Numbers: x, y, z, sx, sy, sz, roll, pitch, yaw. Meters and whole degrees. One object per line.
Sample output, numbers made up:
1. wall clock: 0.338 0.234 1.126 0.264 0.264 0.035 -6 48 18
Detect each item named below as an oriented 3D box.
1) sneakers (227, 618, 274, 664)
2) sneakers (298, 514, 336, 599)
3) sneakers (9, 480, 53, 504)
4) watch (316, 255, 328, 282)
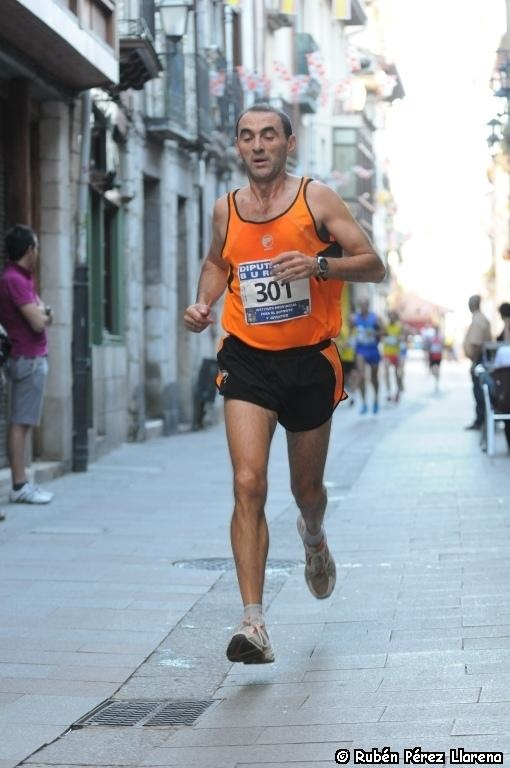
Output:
1. sneakers: -0.020 0.802 3.656 0.114 0.134 0.172 -3 3 10
2. sneakers: 0.245 0.714 4.724 0.127 0.369 0.150 -12 5 -1
3. sneakers: -1.569 0.762 8.444 0.236 0.114 0.150 2 5 3
4. watch: 0.218 -0.378 3.910 0.036 0.065 0.095 -3 3 3
